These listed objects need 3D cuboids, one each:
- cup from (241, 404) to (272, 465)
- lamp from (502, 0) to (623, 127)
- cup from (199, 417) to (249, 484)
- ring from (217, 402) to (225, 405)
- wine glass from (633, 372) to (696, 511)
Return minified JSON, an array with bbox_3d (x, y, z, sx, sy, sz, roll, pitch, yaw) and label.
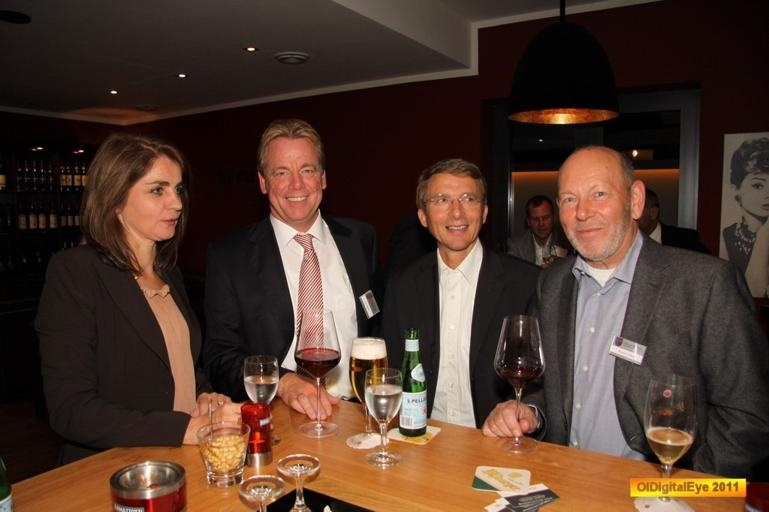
[{"bbox_3d":[-0.547,0.780,2.456,0.145,0.249,0.144,-5,-4,0],"label":"cup"},{"bbox_3d":[1.144,-1.291,3.625,0.681,0.797,0.597,1,5,20],"label":"lamp"},{"bbox_3d":[-0.666,0.837,2.352,0.220,0.216,0.236,-3,-4,0],"label":"cup"},{"bbox_3d":[-0.792,0.708,2.701,0.034,0.015,0.041,2,-4,-26],"label":"ring"},{"bbox_3d":[1.123,0.720,2.203,0.326,0.490,0.189,-4,6,-39],"label":"wine glass"}]
